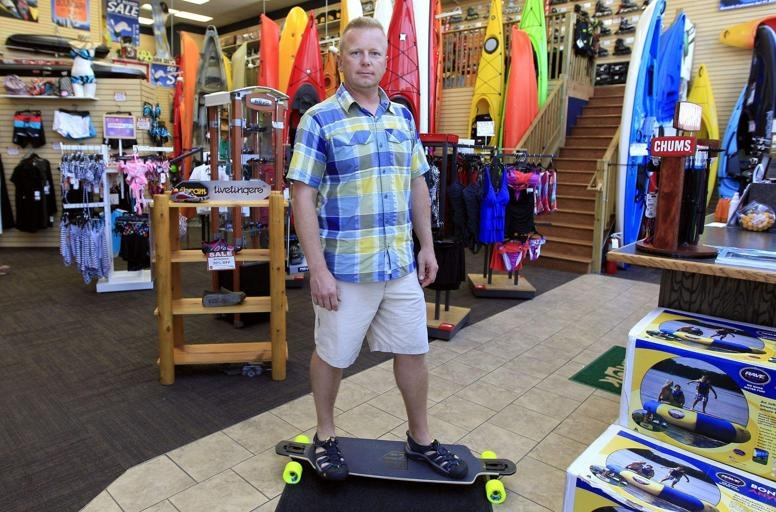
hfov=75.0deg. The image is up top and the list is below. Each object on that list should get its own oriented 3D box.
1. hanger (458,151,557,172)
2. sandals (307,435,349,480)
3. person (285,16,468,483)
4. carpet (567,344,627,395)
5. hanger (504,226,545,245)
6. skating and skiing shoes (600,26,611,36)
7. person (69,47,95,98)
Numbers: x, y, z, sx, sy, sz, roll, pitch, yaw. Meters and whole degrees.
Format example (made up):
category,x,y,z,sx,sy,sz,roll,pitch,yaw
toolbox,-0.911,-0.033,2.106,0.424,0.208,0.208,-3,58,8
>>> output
category,x,y,z,sx,sy,sz,roll,pitch,yaw
hanger,1.427,-1.161,6.194,0.357,0.179,0.787,8,11,39
sandals,-0.382,1.192,3.078,0.143,0.153,0.339,0,7,-31
person,-0.133,-0.001,2.884,0.807,2.605,0.519,-5,13,-11
carpet,1.819,0.967,4.263,0.271,0.007,0.662,7,17,34
hanger,1.585,-0.259,5.873,0.518,0.201,0.227,-10,15,-31
skating and skiing shoes,4.441,-4.576,10.335,0.114,0.119,0.311,-1,29,0
person,-4.612,-2.698,7.590,0.342,0.928,0.273,-11,41,-36
